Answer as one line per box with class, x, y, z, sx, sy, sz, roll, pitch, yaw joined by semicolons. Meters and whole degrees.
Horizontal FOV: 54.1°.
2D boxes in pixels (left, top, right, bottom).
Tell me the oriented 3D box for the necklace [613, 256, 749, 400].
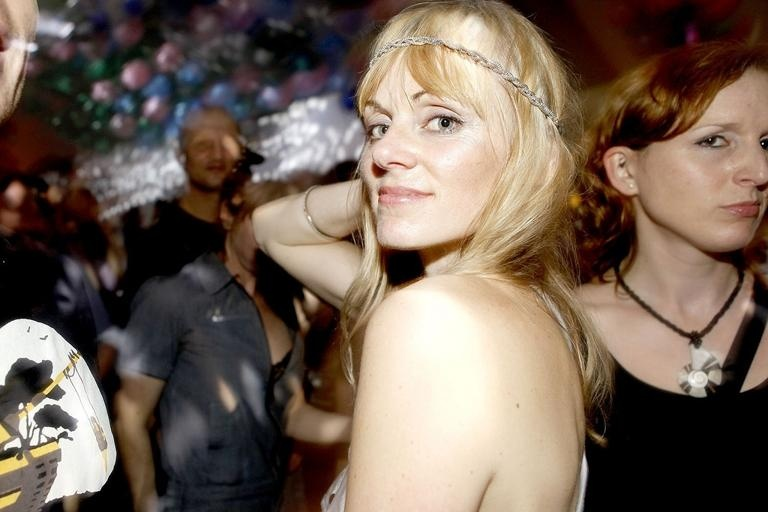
necklace;1.072;0.264;2.593;0.274;0.481;0.067;-10;-23;8
